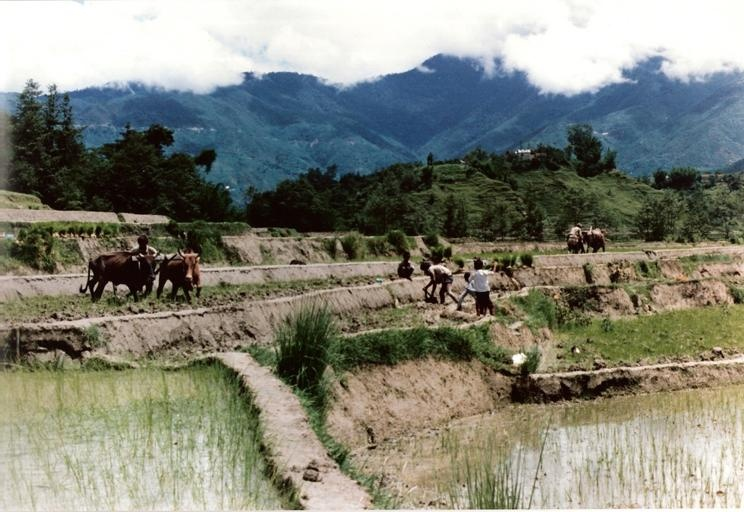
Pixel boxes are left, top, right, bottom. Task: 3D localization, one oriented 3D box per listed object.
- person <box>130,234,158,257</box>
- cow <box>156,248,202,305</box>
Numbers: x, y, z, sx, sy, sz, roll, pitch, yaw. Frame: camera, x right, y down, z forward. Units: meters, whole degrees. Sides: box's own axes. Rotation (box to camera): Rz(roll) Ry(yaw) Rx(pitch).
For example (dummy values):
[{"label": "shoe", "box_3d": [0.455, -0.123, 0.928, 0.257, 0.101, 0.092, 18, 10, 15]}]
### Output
[{"label": "person", "box_3d": [-9.344, -0.277, 29.384, 1.411, 0.926, 1.450, 1, 17, -17]}, {"label": "cow", "box_3d": [-7.934, 1.025, 29.214, 1.697, 2.871, 1.842, 0, 37, -17]}]
